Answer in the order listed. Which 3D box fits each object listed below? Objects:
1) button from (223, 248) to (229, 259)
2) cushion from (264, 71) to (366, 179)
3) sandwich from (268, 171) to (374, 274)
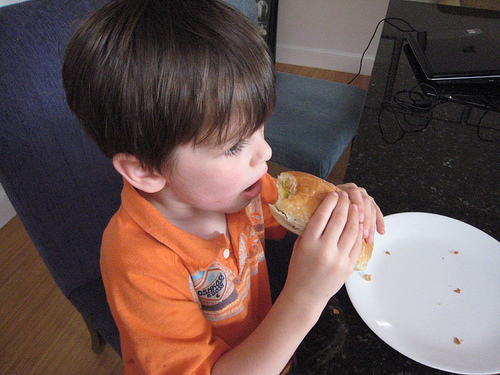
[{"bbox_3d":[-0.059,0.163,0.987,0.004,0.018,0.019,-2,87,29],"label":"button"},{"bbox_3d":[0.246,-0.254,1.762,0.459,0.114,0.490,15,57,19],"label":"cushion"},{"bbox_3d":[0.173,0.049,0.970,0.265,0.086,0.223,18,35,-4],"label":"sandwich"}]
